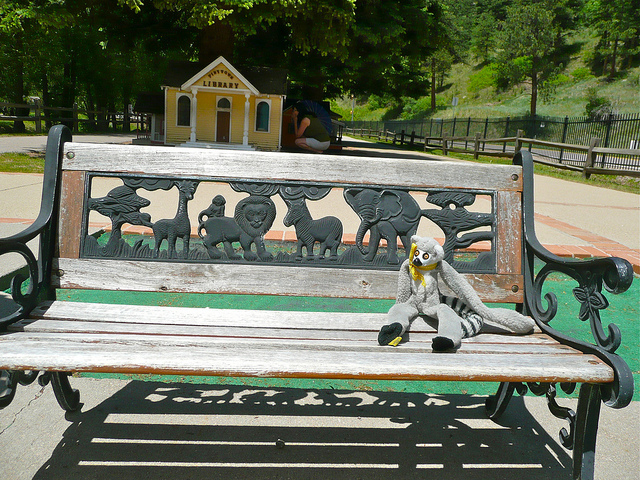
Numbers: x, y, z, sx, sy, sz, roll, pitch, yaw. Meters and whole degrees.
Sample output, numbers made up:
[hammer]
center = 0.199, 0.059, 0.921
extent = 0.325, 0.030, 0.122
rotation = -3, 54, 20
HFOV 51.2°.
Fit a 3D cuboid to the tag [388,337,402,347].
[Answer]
[tag]
center = 0.406, 0.540, 3.565
extent = 0.060, 0.033, 0.014
rotation = -42, 15, -8
